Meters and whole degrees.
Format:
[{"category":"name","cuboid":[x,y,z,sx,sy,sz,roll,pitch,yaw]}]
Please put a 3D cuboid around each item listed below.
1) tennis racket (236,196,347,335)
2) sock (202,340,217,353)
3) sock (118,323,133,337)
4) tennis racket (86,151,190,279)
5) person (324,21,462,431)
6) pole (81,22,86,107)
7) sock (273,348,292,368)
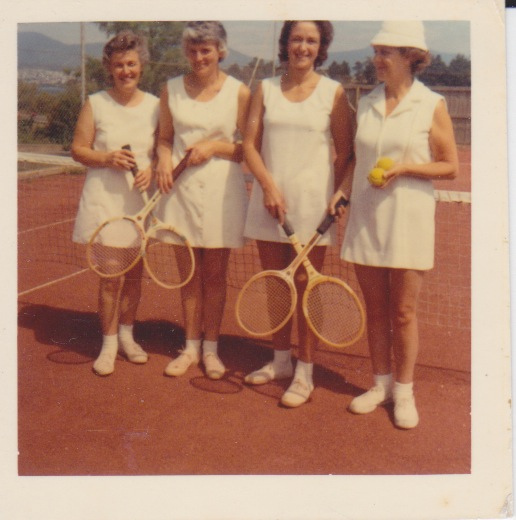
[{"category":"tennis racket","cuboid":[0.122,0.088,2.758,0.280,0.870,0.041,42,26,13]},{"category":"sock","cuboid":[-0.235,0.415,3.020,0.054,0.065,0.063,7,-1,36]},{"category":"sock","cuboid":[-0.666,0.344,3.109,0.067,0.053,0.019,2,16,-13]},{"category":"tennis racket","cuboid":[-0.551,-0.183,2.847,0.445,0.662,0.332,0,16,-17]},{"category":"person","cuboid":[0.560,-0.133,2.716,0.527,1.725,0.329,6,15,6]},{"category":"pole","cuboid":[-0.862,-0.973,3.066,0.023,0.373,0.081,0,16,-15]},{"category":"sock","cuboid":[0.119,0.466,2.972,0.075,0.086,0.075,-2,-6,36]}]
